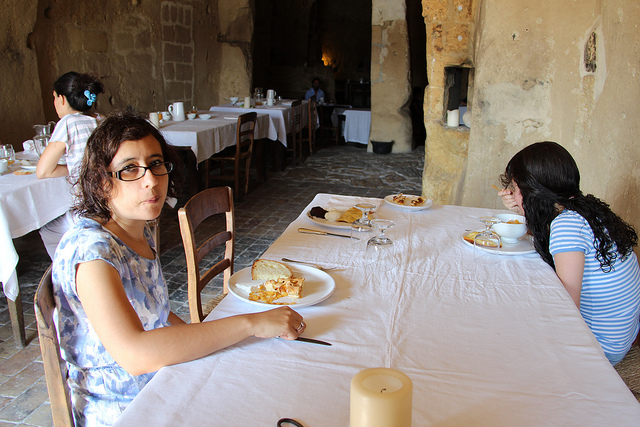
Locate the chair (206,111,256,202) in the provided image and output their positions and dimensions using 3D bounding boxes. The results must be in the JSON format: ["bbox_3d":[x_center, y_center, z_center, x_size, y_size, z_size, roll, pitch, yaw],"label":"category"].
[{"bbox_3d":[-1.094,-0.729,5.250,0.662,0.968,0.686,-3,16,-26],"label":"chair"}]

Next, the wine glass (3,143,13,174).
[{"bbox_3d":[-1.979,-0.347,2.746,0.063,0.158,0.223,-11,19,-34],"label":"wine glass"}]

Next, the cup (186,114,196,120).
[{"bbox_3d":[-1.568,-1.172,5.256,0.070,0.041,0.072,-2,11,0],"label":"cup"}]

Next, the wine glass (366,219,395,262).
[{"bbox_3d":[0.261,0.122,1.909,0.113,0.169,0.112,-8,18,-27],"label":"wine glass"}]

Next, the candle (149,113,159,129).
[{"bbox_3d":[-1.733,-0.984,4.526,0.089,0.132,0.312,-6,17,-21],"label":"candle"}]

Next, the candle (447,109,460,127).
[{"bbox_3d":[1.281,-0.917,4.150,0.151,0.164,0.123,4,10,21],"label":"candle"}]

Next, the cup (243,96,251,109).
[{"bbox_3d":[-1.078,-1.650,6.432,0.098,0.167,0.218,-3,16,-10],"label":"cup"}]

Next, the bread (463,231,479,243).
[{"bbox_3d":[0.688,0.105,1.976,0.051,0.017,0.052,5,17,18],"label":"bread"}]

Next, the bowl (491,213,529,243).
[{"bbox_3d":[0.852,0.048,1.941,0.137,0.087,0.141,-3,12,1],"label":"bowl"}]

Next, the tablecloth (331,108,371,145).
[{"bbox_3d":[0.598,-1.826,8.565,0.713,0.505,1.006,-3,21,-21],"label":"tablecloth"}]

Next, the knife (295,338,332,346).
[{"bbox_3d":[-0.020,0.390,1.328,0.113,0.012,0.018,3,16,8],"label":"knife"}]

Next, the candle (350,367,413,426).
[{"bbox_3d":[0.136,0.369,0.942,0.110,0.131,0.113,8,23,25],"label":"candle"}]

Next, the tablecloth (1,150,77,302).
[{"bbox_3d":[-1.680,0.115,2.596,0.399,0.657,0.503,-8,18,-28],"label":"tablecloth"}]

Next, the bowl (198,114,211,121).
[{"bbox_3d":[-1.404,-1.162,5.225,0.102,0.051,0.104,-2,10,0],"label":"bowl"}]
